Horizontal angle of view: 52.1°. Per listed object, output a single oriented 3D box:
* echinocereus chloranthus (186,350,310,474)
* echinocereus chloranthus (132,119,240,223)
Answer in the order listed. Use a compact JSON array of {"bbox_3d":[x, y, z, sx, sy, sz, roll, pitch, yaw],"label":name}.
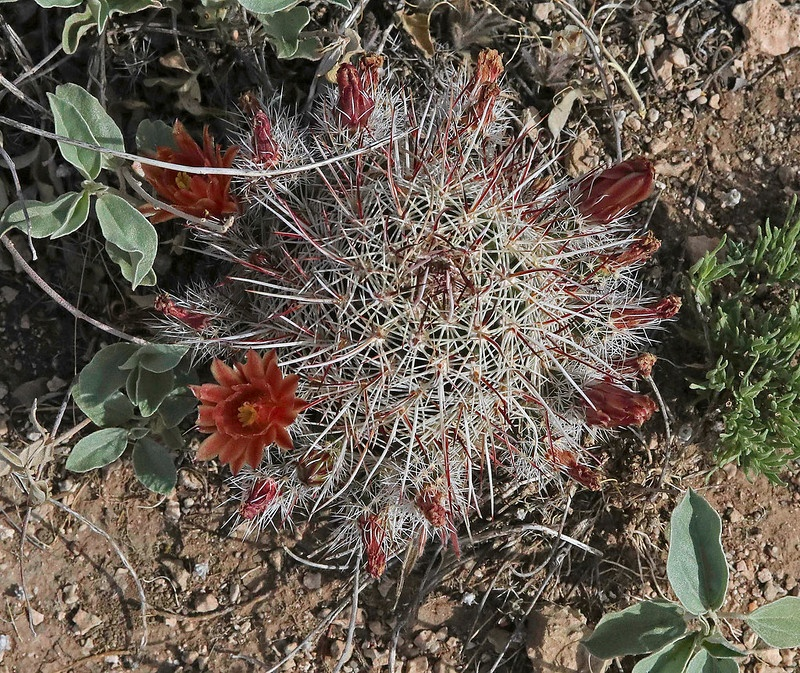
[{"bbox_3d":[-0.392,0.197,2.319,0.325,0.132,0.325,-43,78,9],"label":"echinocereus chloranthus"},{"bbox_3d":[-0.604,-0.459,2.459,0.300,0.177,0.282,-27,82,17],"label":"echinocereus chloranthus"}]
